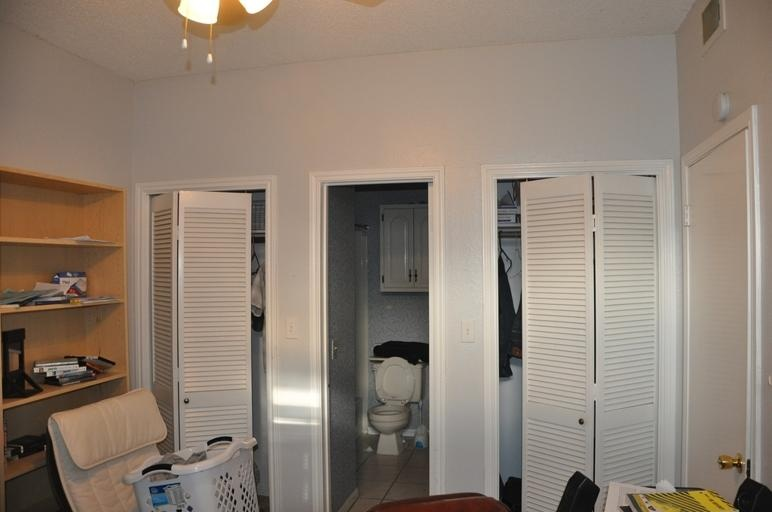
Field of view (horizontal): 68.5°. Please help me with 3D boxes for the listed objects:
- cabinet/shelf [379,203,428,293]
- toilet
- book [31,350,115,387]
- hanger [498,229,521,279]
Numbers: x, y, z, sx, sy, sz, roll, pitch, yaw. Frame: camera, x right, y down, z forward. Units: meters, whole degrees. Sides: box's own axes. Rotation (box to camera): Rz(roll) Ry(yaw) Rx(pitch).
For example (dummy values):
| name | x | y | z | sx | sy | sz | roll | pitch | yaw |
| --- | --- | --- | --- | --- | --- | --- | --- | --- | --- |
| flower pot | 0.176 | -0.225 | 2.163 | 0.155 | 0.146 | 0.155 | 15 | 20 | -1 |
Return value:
| name | x | y | z | sx | sy | sz | roll | pitch | yaw |
| --- | --- | --- | --- | --- | --- | --- | --- | --- | --- |
| cabinet/shelf | 0.188 | -0.081 | 6.077 | 0.501 | 0.935 | 0.125 | -1 | -2 | 0 |
| toilet | 0.062 | 1.486 | 5.777 | 0.552 | 0.903 | 0.794 | 1 | 4 | 19 |
| book | -2.182 | 0.804 | 3.991 | 0.518 | 0.170 | 0.257 | 1 | -4 | -38 |
| hanger | 1.023 | -0.028 | 4.650 | 0.270 | 0.361 | 0.097 | -1 | 1 | 1 |
